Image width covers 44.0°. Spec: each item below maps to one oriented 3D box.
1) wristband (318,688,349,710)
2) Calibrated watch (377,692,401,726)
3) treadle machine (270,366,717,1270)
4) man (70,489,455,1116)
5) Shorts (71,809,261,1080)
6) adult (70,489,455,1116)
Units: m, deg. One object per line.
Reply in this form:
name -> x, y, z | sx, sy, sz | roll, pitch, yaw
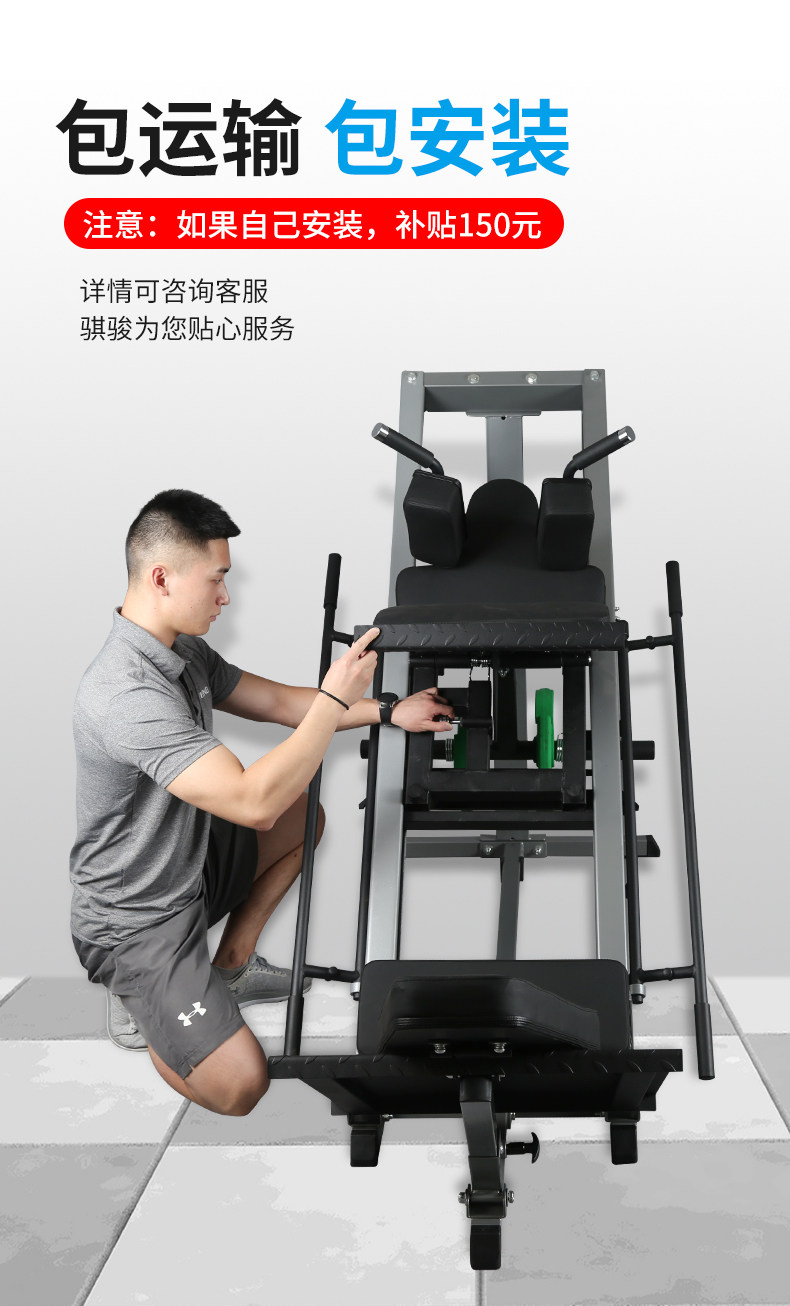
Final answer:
wristband -> -0.095, 0.075, 1.541 | 0.046, 0.033, 0.030 | -1, 0, -6
Calibrated watch -> -0.012, 0.108, 1.868 | 0.037, 0.055, 0.058 | 0, 31, 2
treadle machine -> 0.193, 0.138, 1.748 | 0.647, 1.576, 0.924 | 0, -35, 4
man -> -0.243, 0.260, 1.849 | 0.713, 1.042, 0.684 | 2, 9, 2
Shorts -> -0.335, 0.515, 1.720 | 0.392, 0.126, 0.390 | -11, 38, -37
adult -> -0.222, 0.260, 1.850 | 0.744, 1.048, 0.668 | 1, 9, -5
